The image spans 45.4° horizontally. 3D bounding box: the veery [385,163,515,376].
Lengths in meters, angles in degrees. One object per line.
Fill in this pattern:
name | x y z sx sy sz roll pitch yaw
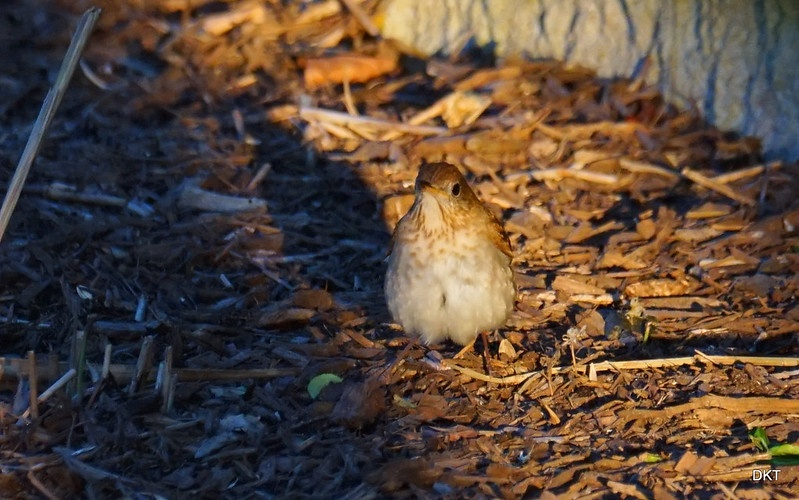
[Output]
veery | 0.377 0.083 7.389 1.052 1.380 1.493 -2 5 12
